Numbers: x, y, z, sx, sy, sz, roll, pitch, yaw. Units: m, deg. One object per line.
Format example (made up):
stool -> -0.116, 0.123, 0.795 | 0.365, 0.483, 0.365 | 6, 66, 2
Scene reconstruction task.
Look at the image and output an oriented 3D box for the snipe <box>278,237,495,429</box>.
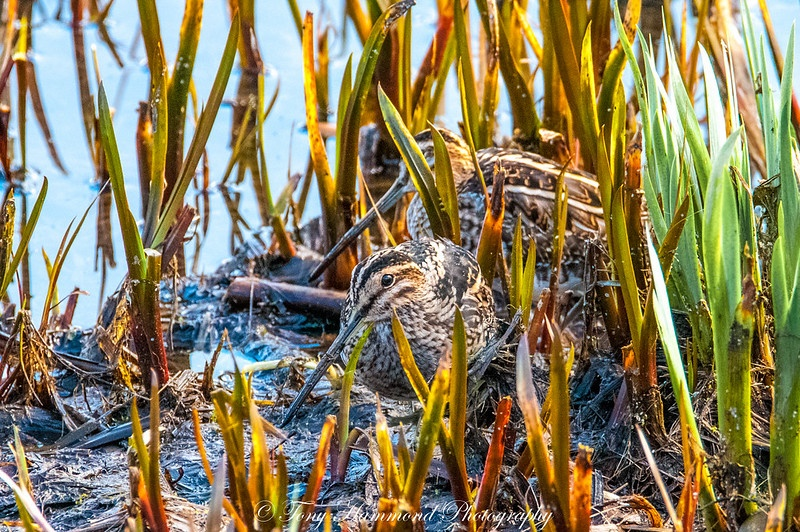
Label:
snipe -> 0.004, 0.230, 4.062 | 0.712, 0.673, 0.457 | 8, 19, -5
